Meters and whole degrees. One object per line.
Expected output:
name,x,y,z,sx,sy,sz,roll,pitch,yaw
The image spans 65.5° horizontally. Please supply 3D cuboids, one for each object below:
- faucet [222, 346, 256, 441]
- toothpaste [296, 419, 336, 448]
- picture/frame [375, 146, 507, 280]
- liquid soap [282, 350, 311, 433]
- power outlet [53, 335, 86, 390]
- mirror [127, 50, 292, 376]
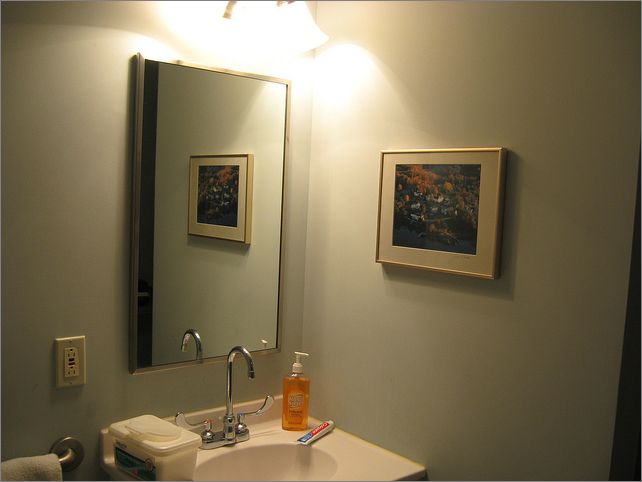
faucet,-0.276,0.565,1.789,0.096,0.355,0.106,-1,10,-38
toothpaste,-0.014,0.702,1.848,0.047,0.036,0.145,1,8,36
picture/frame,0.377,-0.095,1.633,0.434,0.405,0.036,3,3,39
liquid soap,-0.089,0.558,1.922,0.098,0.312,0.094,2,-1,42
power outlet,-0.796,0.383,1.582,0.089,0.154,0.020,-1,3,-34
mirror,-0.382,-0.082,1.801,0.589,1.060,0.030,-1,3,-34
